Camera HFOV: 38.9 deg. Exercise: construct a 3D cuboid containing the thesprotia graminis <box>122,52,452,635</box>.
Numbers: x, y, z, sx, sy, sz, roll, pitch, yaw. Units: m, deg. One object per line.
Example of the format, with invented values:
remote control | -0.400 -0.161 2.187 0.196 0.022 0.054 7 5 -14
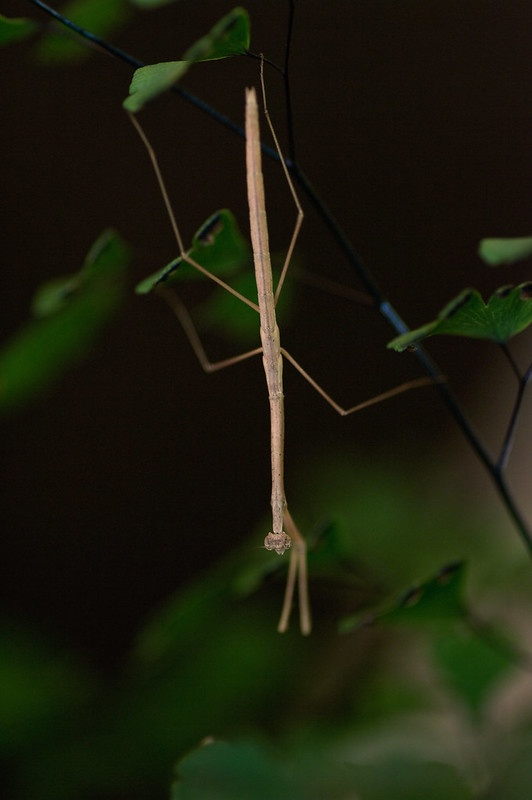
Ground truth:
thesprotia graminis | 0.035 0.066 1.023 0.286 0.285 0.969 -10 -64 -17
